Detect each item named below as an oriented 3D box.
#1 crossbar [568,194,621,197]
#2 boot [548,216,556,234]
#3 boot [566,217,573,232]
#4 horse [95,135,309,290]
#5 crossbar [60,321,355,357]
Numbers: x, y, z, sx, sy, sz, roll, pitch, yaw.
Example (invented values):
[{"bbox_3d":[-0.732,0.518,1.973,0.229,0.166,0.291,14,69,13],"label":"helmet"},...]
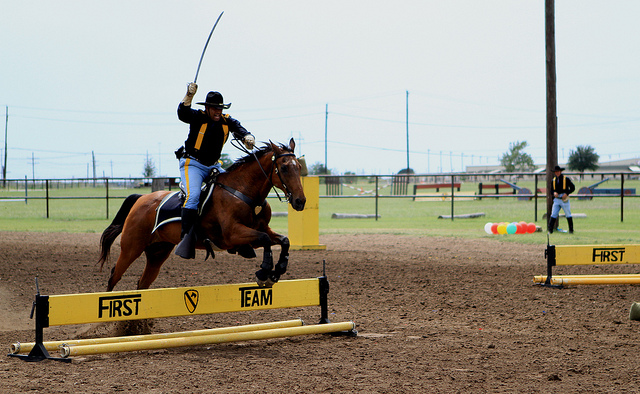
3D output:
[{"bbox_3d":[10.035,-0.050,41.517,2.109,0.086,0.848,0,-1,-20],"label":"crossbar"},{"bbox_3d":[7.886,0.964,38.502,0.182,0.579,0.188,6,2,-33],"label":"boot"},{"bbox_3d":[8.575,0.936,38.880,0.183,0.492,0.320,-1,-1,13],"label":"boot"},{"bbox_3d":[-3.367,0.934,29.951,7.374,3.953,1.919,-6,-12,34],"label":"horse"},{"bbox_3d":[-2.933,3.560,28.334,7.037,0.634,0.269,0,-1,-10],"label":"crossbar"}]
